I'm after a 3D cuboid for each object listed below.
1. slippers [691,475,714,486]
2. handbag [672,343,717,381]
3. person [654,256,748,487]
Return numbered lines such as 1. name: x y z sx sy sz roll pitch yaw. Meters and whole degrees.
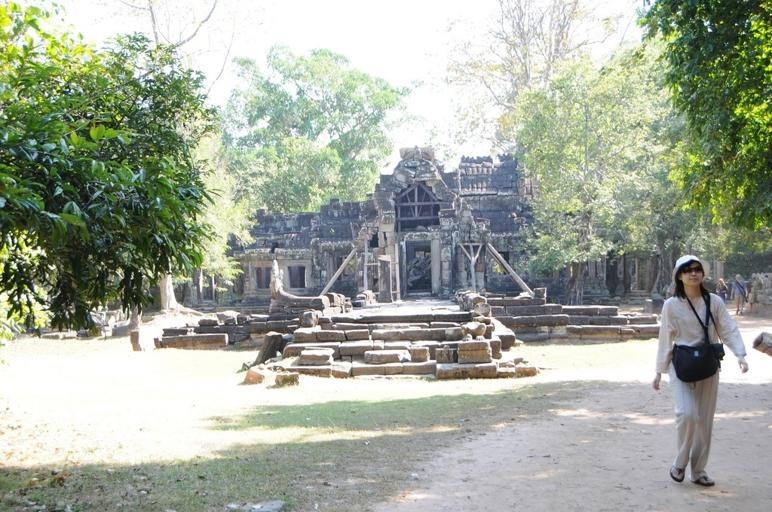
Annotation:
1. slippers: 4.794 3.382 11.417 0.271 0.113 0.136 0 1 -15
2. handbag: 4.662 1.617 11.378 0.629 0.585 0.479 -5 -7 17
3. person: 4.720 1.737 11.515 1.184 3.427 0.720 1 7 19
